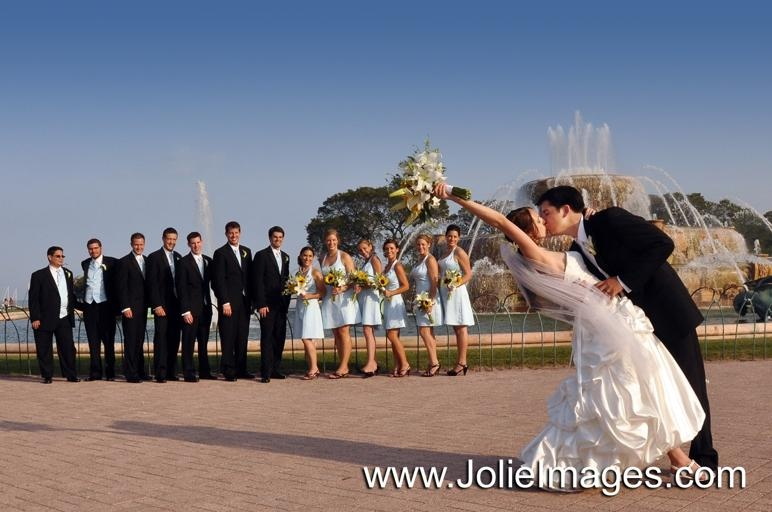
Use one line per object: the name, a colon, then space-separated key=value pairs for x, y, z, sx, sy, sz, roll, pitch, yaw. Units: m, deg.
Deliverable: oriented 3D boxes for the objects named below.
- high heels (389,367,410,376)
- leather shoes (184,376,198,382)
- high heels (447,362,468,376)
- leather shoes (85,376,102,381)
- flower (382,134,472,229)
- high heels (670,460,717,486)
high heels: x=0.315 y=2.348 z=15.952 sx=0.313 sy=0.123 sz=0.185 roll=12 pitch=-16 yaw=-35
leather shoes: x=-3.927 y=2.482 z=15.961 sx=0.317 sy=0.135 sz=0.104 roll=1 pitch=0 yaw=-20
high heels: x=1.436 y=2.286 z=15.966 sx=0.383 sy=0.188 sz=0.205 roll=3 pitch=-5 yaw=-11
leather shoes: x=-6.088 y=2.539 z=16.457 sx=0.310 sy=0.131 sz=0.108 roll=4 pitch=-8 yaw=6
flower: x=0.696 y=-0.860 z=10.081 sx=1.074 sy=0.888 sz=0.822 roll=10 pitch=4 yaw=7
high heels: x=3.682 y=2.597 z=9.473 sx=0.425 sy=0.180 sz=0.232 roll=-6 pitch=13 yaw=21
